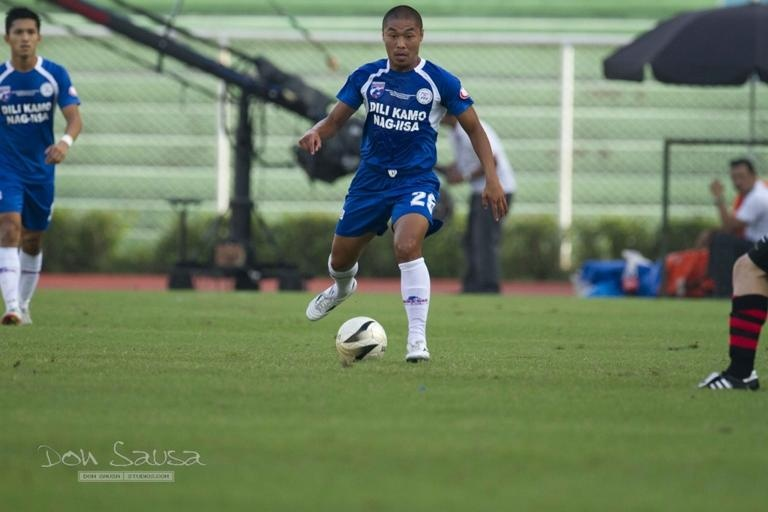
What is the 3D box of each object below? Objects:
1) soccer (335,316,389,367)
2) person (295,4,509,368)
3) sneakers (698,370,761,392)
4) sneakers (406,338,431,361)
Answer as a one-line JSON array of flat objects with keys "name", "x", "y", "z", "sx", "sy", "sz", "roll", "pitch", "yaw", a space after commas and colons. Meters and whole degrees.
[{"name": "soccer", "x": -0.157, "y": 0.653, "z": 11.771, "sx": 0.394, "sy": 0.351, "sz": 0.291, "roll": 2, "pitch": 0, "yaw": -9}, {"name": "person", "x": 0.151, "y": -0.555, "z": 12.019, "sx": 1.511, "sy": 2.734, "sz": 0.654, "roll": 2, "pitch": 0, "yaw": 12}, {"name": "sneakers", "x": 2.527, "y": 0.923, "z": 11.204, "sx": 0.505, "sy": 0.156, "sz": 0.156, "roll": 3, "pitch": -5, "yaw": 2}, {"name": "sneakers", "x": 0.271, "y": 0.731, "z": 11.756, "sx": 0.185, "sy": 0.170, "sz": 0.214, "roll": 2, "pitch": 0, "yaw": 1}]
